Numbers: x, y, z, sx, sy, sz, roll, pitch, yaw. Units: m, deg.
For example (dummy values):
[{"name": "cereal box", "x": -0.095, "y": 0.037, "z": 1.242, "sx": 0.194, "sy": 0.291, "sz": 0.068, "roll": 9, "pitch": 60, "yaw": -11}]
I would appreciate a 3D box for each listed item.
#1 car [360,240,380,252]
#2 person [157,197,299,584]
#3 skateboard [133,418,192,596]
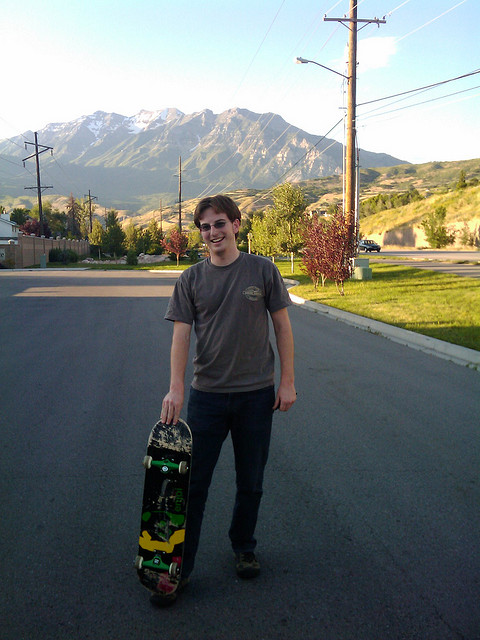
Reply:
[{"name": "car", "x": 15.351, "y": -8.847, "z": 58.345, "sx": 2.157, "sy": 1.557, "sz": 4.059, "roll": 1, "pitch": 4, "yaw": 13}, {"name": "person", "x": -0.064, "y": 0.314, "z": 2.495, "sx": 0.693, "sy": 1.897, "sz": 0.407, "roll": -1, "pitch": 4, "yaw": -13}, {"name": "skateboard", "x": -0.342, "y": 0.848, "z": 2.220, "sx": 0.195, "sy": 0.915, "sz": 0.120, "roll": 3, "pitch": -4, "yaw": 12}]
